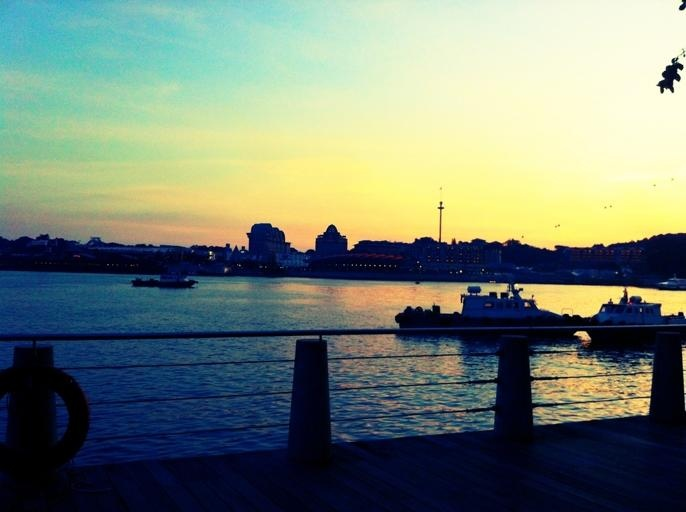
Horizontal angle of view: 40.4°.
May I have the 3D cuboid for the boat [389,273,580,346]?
[{"bbox_3d":[8.828,3.325,57.290,11.422,2.959,2.335,0,-1,8],"label":"boat"}]
